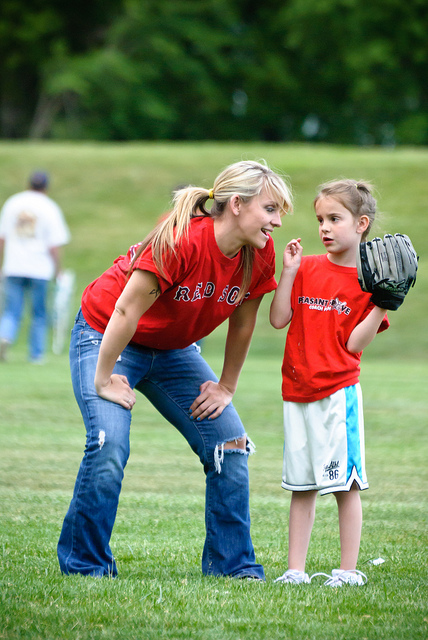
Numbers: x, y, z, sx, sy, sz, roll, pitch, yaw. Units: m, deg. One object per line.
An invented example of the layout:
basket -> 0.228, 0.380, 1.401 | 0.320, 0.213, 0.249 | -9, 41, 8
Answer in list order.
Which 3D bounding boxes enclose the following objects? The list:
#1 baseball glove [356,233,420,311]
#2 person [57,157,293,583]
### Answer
baseball glove -> 0.638, -0.187, 3.176 | 0.242, 0.273, 0.146 | -6, -4, -11
person -> -0.140, 0.203, 3.174 | 0.825, 1.646, 0.826 | 2, 11, -6
